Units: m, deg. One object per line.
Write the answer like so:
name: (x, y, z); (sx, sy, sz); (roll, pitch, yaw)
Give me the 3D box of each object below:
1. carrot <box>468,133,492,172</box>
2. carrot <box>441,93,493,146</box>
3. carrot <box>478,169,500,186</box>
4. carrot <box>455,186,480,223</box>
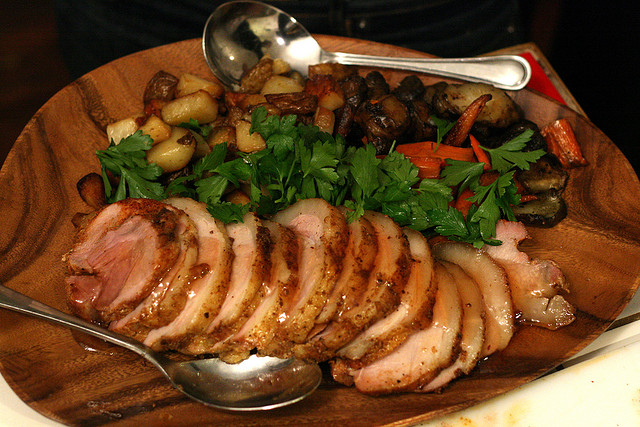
carrot: (1.236, -0.478, 5.181); (0.071, 0.084, 0.332); (-21, 69, -18)
carrot: (1.149, -0.765, 5.248); (0.460, 0.095, 0.115); (-50, 52, 3)
carrot: (1.294, -0.293, 5.118); (0.146, 0.127, 0.137); (0, 56, 4)
carrot: (1.108, -0.066, 5.109); (0.135, 0.249, 0.200); (2, 10, 39)
